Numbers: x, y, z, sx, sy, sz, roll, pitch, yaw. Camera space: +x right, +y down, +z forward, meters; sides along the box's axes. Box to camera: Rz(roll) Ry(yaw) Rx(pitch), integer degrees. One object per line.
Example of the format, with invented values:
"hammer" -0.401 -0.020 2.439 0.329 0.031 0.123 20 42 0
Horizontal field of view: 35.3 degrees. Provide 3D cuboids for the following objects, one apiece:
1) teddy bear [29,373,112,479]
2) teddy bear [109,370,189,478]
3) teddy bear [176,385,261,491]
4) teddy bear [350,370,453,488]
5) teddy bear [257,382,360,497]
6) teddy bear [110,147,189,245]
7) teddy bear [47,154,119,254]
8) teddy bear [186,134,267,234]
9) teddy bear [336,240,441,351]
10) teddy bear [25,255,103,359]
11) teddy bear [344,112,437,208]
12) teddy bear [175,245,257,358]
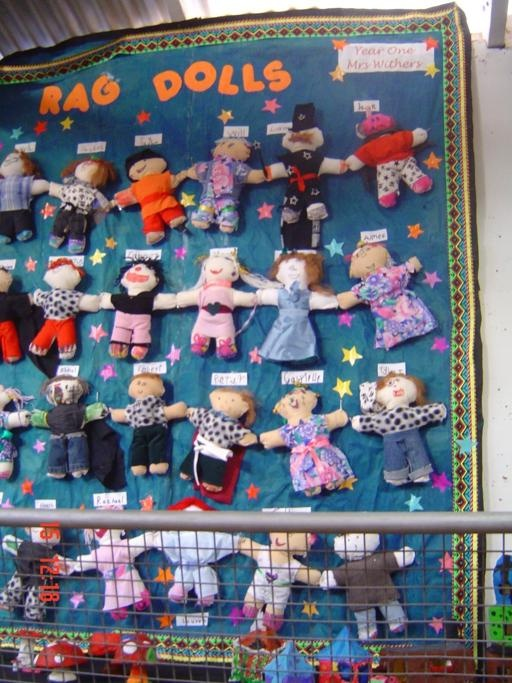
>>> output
"teddy bear" -0.779 0.373 3.434 0.510 0.468 0.182 -3 -11 3
"teddy bear" -0.437 0.362 3.377 0.471 0.483 0.176 -5 -21 9
"teddy bear" -0.120 0.420 3.412 0.367 0.397 0.143 23 -11 17
"teddy bear" 0.592 0.366 3.201 0.540 0.540 0.147 -1 -29 7
"teddy bear" 0.227 0.410 3.233 0.352 0.412 0.294 -21 15 -10
"teddy bear" -0.460 -0.634 3.587 0.419 0.399 0.148 -16 -20 8
"teddy bear" -0.788 -0.612 3.671 0.403 0.404 0.196 -20 15 -10
"teddy bear" -0.128 -0.678 3.555 0.403 0.381 0.131 6 -7 8
"teddy bear" 0.566 -0.175 3.380 0.452 0.413 0.184 -17 -9 2
"teddy bear" -0.878 -0.136 3.564 0.361 0.432 0.246 -23 15 -17
"teddy bear" 0.566 -0.780 3.441 0.326 0.400 0.265 -9 18 30
"teddy bear" -0.167 -0.146 3.425 0.346 0.442 0.273 -21 15 -9
